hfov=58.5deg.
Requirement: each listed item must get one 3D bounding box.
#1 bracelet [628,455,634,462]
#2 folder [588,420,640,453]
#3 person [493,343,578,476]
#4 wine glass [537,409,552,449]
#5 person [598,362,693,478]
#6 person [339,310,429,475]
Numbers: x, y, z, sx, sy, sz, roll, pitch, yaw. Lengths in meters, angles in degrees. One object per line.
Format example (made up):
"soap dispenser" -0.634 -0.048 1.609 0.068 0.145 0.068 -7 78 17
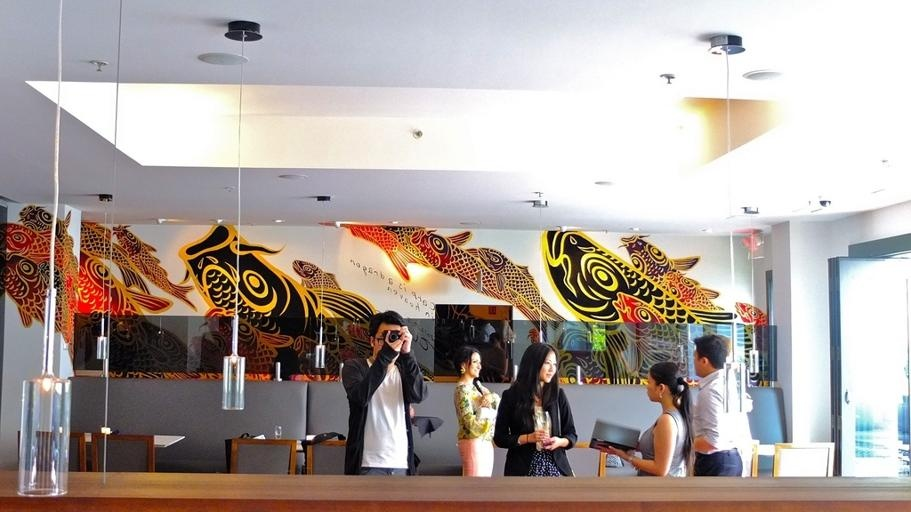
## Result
"bracelet" 1.329 1.540 6.151 0.025 0.032 0.034 -28 0 6
"folder" 1.247 1.456 6.359 0.366 0.242 0.169 15 20 14
"person" 0.613 1.188 6.284 0.625 0.976 0.393 0 5 2
"wine glass" 0.675 1.339 6.230 0.104 0.252 0.166 1 5 6
"person" 1.533 1.238 6.137 0.454 0.818 0.357 -2 6 -23
"person" -0.560 1.099 6.291 0.643 1.262 0.587 0 5 -5
